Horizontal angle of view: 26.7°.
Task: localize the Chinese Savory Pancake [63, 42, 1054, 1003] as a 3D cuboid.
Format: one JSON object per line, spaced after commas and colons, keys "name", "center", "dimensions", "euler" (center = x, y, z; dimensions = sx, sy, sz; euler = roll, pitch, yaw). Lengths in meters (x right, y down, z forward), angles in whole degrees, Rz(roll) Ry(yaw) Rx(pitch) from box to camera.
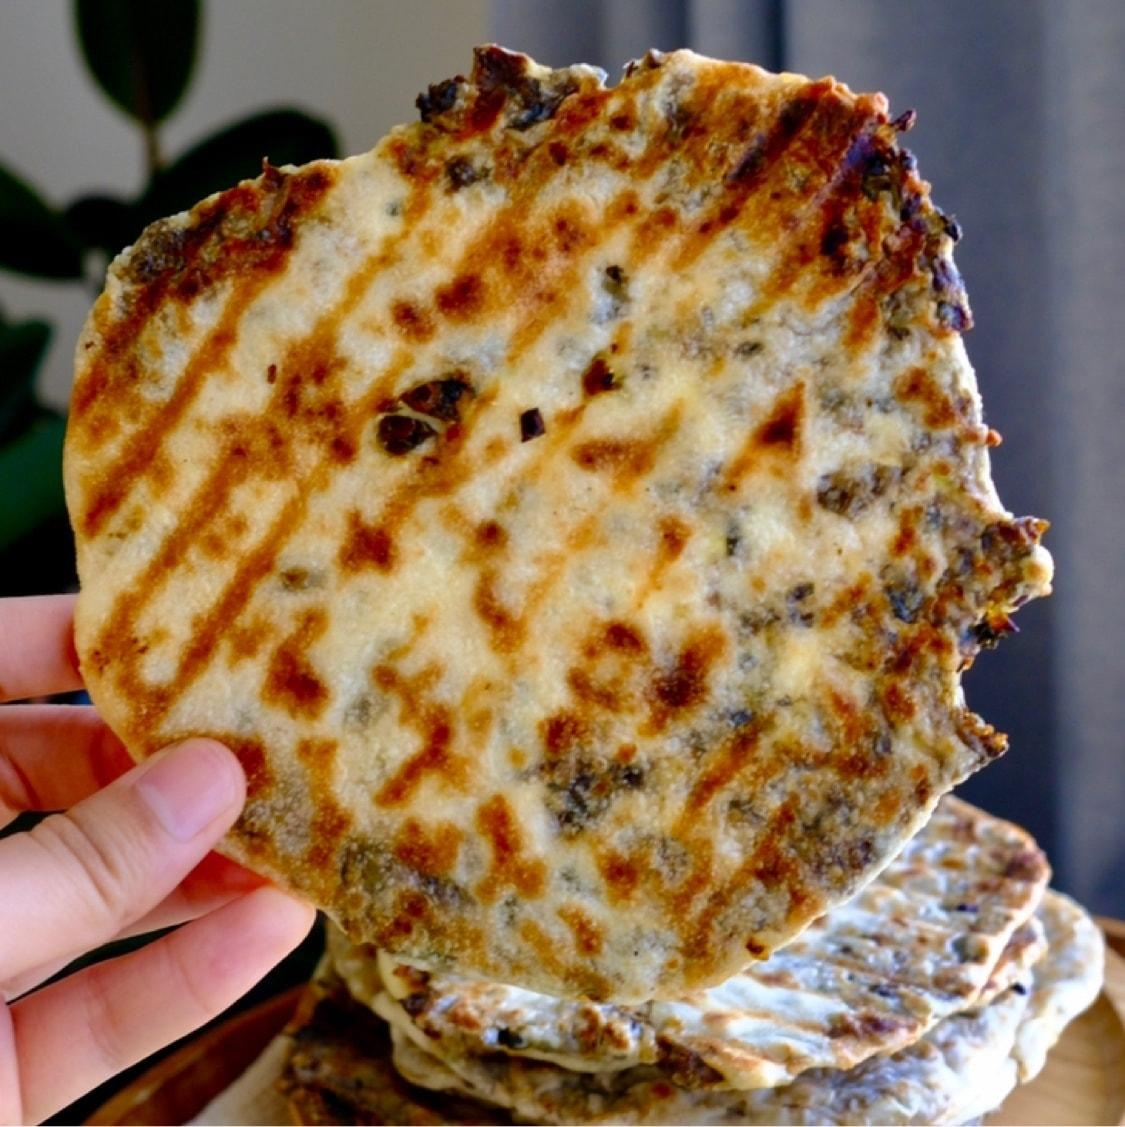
{"name": "Chinese Savory Pancake", "center": [-0.005, -0.022, 1.782], "dimensions": [0.728, 0.168, 0.707], "euler": [-27, 84, -4]}
